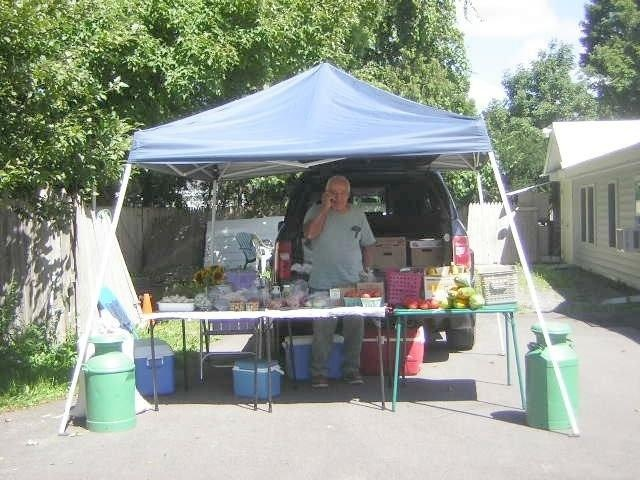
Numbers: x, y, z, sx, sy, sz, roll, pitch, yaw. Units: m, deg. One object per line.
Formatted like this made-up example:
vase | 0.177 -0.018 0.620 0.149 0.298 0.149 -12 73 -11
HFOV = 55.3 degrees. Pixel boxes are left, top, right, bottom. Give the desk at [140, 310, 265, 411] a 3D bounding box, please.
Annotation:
desk | -1.300 1.233 7.177 1.321 1.165 1.913 -1 6 -10

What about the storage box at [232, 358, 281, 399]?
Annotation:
storage box | -0.735 1.590 7.093 0.536 0.425 0.360 -3 -3 33

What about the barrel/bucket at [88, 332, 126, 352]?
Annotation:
barrel/bucket | -2.122 1.029 6.158 0.236 0.196 0.256 2 2 0

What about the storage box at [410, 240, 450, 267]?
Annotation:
storage box | 1.390 0.158 7.799 0.473 0.327 0.202 1 6 12

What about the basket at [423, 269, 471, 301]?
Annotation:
basket | 1.306 0.472 6.534 0.434 0.377 0.272 0 -7 -2

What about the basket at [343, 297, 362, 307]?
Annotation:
basket | 0.357 0.655 6.580 0.137 0.078 0.100 -1 -1 15

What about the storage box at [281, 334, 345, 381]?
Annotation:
storage box | -0.030 1.458 7.699 0.764 0.599 0.453 -2 -18 -5

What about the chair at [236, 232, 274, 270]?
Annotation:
chair | -1.647 0.278 15.063 0.837 0.847 0.642 7 19 19

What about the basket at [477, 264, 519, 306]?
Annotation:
basket | 1.853 0.457 6.574 0.478 0.393 0.351 0 -4 -20

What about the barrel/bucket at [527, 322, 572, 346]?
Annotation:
barrel/bucket | 2.276 0.911 6.119 0.256 0.166 0.295 1 7 -6

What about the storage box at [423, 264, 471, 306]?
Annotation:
storage box | 1.307 0.455 6.668 0.391 0.283 0.423 -1 -1 3

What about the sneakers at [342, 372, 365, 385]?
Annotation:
sneakers | 0.407 1.655 7.330 0.107 0.112 0.224 3 -8 -36

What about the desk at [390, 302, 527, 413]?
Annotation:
desk | 1.600 1.281 7.076 1.292 1.163 1.018 -1 -1 13

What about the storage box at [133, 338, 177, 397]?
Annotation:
storage box | -1.878 1.449 7.106 0.454 0.656 0.890 0 0 -8

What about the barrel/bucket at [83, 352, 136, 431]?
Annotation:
barrel/bucket | -2.118 1.466 6.216 0.461 0.897 0.573 0 0 37

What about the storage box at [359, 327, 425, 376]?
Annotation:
storage box | 0.888 1.359 7.478 0.853 0.700 0.564 0 -7 7

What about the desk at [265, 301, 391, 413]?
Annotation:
desk | 0.068 1.212 6.783 1.329 1.101 0.927 0 6 -1

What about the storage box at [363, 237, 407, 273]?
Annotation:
storage box | 0.969 0.250 8.140 0.665 0.350 0.693 0 -4 -23

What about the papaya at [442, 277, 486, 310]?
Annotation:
papaya | 1.528 0.556 6.403 0.375 0.320 0.225 3 6 24

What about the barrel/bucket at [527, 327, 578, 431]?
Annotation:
barrel/bucket | 2.287 1.336 6.024 0.490 0.999 0.369 2 6 16

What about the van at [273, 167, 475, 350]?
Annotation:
van | 0.872 -0.092 9.028 1.756 1.707 3.177 -1 9 2
